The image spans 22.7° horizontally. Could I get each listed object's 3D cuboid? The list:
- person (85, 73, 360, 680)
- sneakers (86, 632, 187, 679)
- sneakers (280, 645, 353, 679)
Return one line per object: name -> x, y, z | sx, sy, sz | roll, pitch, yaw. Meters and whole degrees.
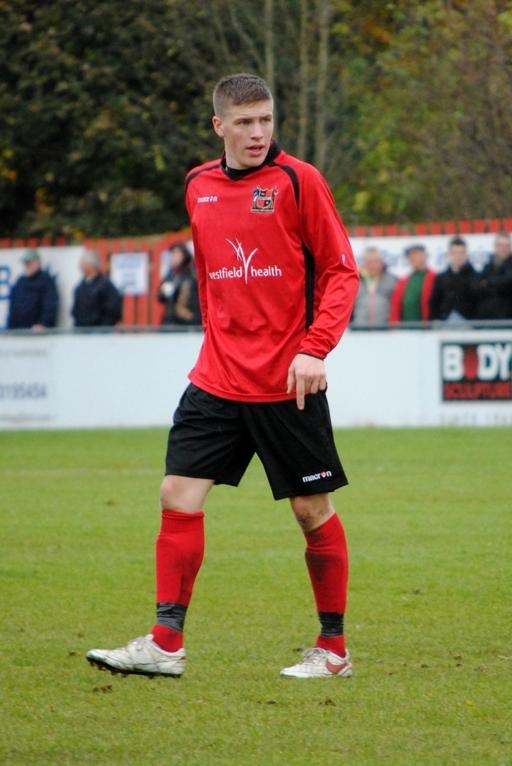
person -> -0.031, -0.028, 3.826 | 0.660, 1.808, 0.565 | 0, 4, 3
sneakers -> -0.334, 0.789, 3.697 | 0.304, 0.126, 0.104 | 11, -20, -19
sneakers -> 0.192, 0.845, 3.892 | 0.246, 0.093, 0.079 | 2, -21, -3
